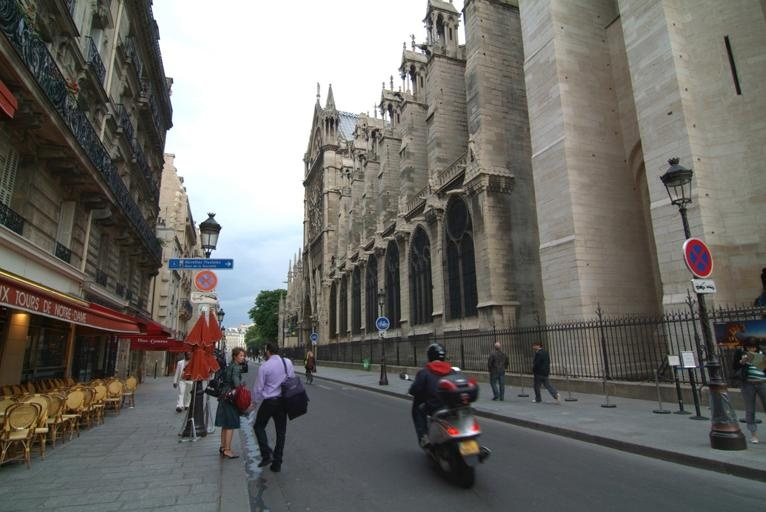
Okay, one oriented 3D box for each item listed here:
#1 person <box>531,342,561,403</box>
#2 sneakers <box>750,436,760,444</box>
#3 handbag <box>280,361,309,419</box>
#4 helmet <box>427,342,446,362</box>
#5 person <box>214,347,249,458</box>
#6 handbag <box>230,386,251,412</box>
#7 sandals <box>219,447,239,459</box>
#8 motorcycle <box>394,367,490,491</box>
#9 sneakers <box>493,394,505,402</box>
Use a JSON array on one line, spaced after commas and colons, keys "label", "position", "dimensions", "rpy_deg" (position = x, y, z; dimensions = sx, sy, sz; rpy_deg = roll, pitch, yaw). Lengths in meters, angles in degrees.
[{"label": "person", "position": [5.695, 4.153, 16.736], "dimensions": [0.838, 2.038, 0.961], "rpy_deg": [-8, -16, 17]}, {"label": "sneakers", "position": [8.909, 4.382, 11.241], "dimensions": [0.164, 0.155, 0.405], "rpy_deg": [-14, -19, 34]}, {"label": "handbag", "position": [-2.042, 3.035, 10.757], "dimensions": [0.574, 1.332, 0.660], "rpy_deg": [0, -15, -12]}, {"label": "helmet", "position": [1.216, 2.178, 10.650], "dimensions": [0.350, 0.464, 0.455], "rpy_deg": [5, 3, -18]}, {"label": "person", "position": [-3.533, 3.431, 10.982], "dimensions": [0.578, 2.484, 0.991], "rpy_deg": [10, -20, -42]}, {"label": "handbag", "position": [-3.324, 3.290, 10.826], "dimensions": [0.455, 0.561, 0.304], "rpy_deg": [-8, -26, -12]}, {"label": "sandals", "position": [-3.640, 4.637, 10.990], "dimensions": [0.224, 0.158, 0.397], "rpy_deg": [3, -6, 14]}, {"label": "motorcycle", "position": [1.415, 3.562, 10.107], "dimensions": [1.481, 2.534, 0.814], "rpy_deg": [-14, -18, 34]}, {"label": "sneakers", "position": [4.303, 5.254, 17.455], "dimensions": [0.194, 0.247, 0.586], "rpy_deg": [5, -7, -16]}]
